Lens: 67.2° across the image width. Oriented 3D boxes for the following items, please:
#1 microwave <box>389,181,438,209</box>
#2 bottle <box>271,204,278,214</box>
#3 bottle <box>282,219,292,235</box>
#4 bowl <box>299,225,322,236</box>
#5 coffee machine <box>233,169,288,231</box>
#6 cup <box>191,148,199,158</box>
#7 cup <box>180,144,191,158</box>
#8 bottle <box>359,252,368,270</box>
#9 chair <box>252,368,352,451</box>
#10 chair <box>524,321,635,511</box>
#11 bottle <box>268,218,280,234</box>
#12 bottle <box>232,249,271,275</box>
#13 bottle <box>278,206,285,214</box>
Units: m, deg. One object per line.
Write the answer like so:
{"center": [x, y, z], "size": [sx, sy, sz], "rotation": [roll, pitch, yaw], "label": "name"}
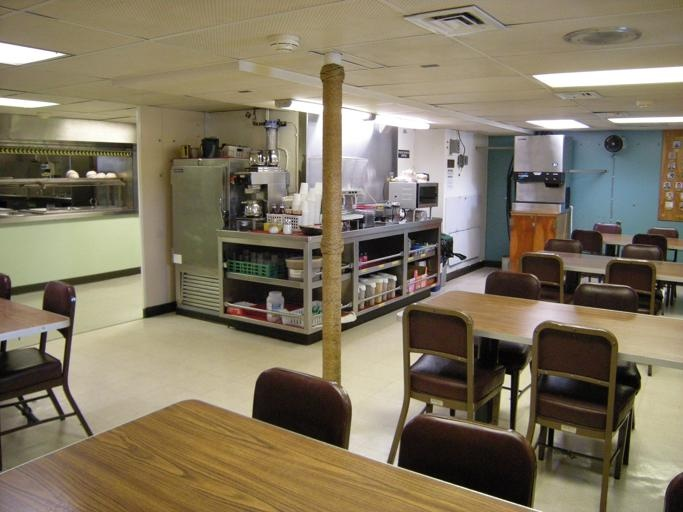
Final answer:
{"center": [1.061, -0.940, 7.729], "size": [0.477, 0.379, 0.715], "rotation": [9, 15, 38], "label": "microwave"}
{"center": [-0.793, -0.583, 6.123], "size": [0.093, 0.114, 0.159], "rotation": [-2, 12, -8], "label": "bottle"}
{"center": [-0.614, -0.345, 5.791], "size": [0.122, 0.153, 0.211], "rotation": [-1, 12, -7], "label": "bottle"}
{"center": [-0.369, -0.290, 5.651], "size": [0.148, 0.101, 0.398], "rotation": [-10, 15, -41], "label": "bowl"}
{"center": [-0.990, -0.691, 6.173], "size": [0.602, 0.682, 0.461], "rotation": [-9, 12, -43], "label": "coffee machine"}
{"center": [-1.938, -1.372, 6.775], "size": [0.108, 0.129, 0.377], "rotation": [-3, 12, -13], "label": "cup"}
{"center": [-1.996, -1.337, 6.581], "size": [0.125, 0.195, 0.186], "rotation": [7, 14, 21], "label": "cup"}
{"center": [0.256, 0.071, 6.282], "size": [0.155, 0.150, 0.047], "rotation": [4, 3, -37], "label": "bottle"}
{"center": [-0.161, 0.664, 2.600], "size": [0.391, 0.542, 0.431], "rotation": [6, 7, 20], "label": "chair"}
{"center": [1.498, 0.921, 3.215], "size": [0.571, 1.146, 0.630], "rotation": [7, 13, 30], "label": "chair"}
{"center": [-0.780, -0.329, 5.850], "size": [0.140, 0.098, 0.138], "rotation": [-1, 10, 0], "label": "bottle"}
{"center": [-1.043, 0.080, 6.004], "size": [0.657, 0.236, 0.246], "rotation": [9, 15, 36], "label": "bottle"}
{"center": [-0.715, -0.543, 6.086], "size": [0.077, 0.075, 0.142], "rotation": [2, 11, -7], "label": "bottle"}
